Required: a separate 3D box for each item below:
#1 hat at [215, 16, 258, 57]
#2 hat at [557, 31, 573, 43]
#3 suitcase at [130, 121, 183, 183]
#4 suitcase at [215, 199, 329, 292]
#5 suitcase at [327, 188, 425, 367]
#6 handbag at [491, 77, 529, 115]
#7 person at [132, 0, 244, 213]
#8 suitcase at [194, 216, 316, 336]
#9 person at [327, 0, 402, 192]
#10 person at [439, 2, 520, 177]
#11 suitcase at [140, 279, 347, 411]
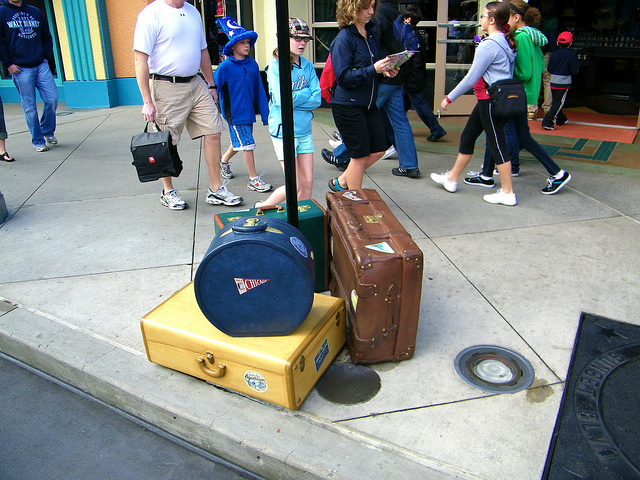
[{"bbox_3d":[-0.926,-2.321,5.350,0.391,0.409,0.504,-4,23,-6],"label":"hat"},{"bbox_3d":[4.593,-3.804,8.777,0.200,0.184,0.346,12,26,28],"label":"hat"},{"bbox_3d":[-1.649,-0.859,4.738,0.447,0.455,0.322,-8,24,-14],"label":"suitcase"},{"bbox_3d":[-0.178,0.095,3.866,0.521,0.797,0.912,-2,-6,-1],"label":"suitcase"},{"bbox_3d":[0.329,0.268,2.951,0.377,0.822,0.953,-6,33,-5],"label":"suitcase"},{"bbox_3d":[1.959,-1.484,4.893,0.400,0.379,0.222,-8,3,-15],"label":"handbag"},{"bbox_3d":[-1.423,-1.414,5.008,0.857,2.081,0.784,-7,24,-13],"label":"person"},{"bbox_3d":[-0.373,0.198,2.776,0.700,0.581,0.415,-5,20,-3],"label":"suitcase"},{"bbox_3d":[0.405,-1.278,4.516,0.598,1.862,0.721,-1,24,2],"label":"person"},{"bbox_3d":[1.878,-1.584,5.209,0.648,1.889,0.866,16,29,35],"label":"person"},{"bbox_3d":[-0.448,0.608,2.727,1.020,0.300,0.792,13,29,22],"label":"suitcase"}]
